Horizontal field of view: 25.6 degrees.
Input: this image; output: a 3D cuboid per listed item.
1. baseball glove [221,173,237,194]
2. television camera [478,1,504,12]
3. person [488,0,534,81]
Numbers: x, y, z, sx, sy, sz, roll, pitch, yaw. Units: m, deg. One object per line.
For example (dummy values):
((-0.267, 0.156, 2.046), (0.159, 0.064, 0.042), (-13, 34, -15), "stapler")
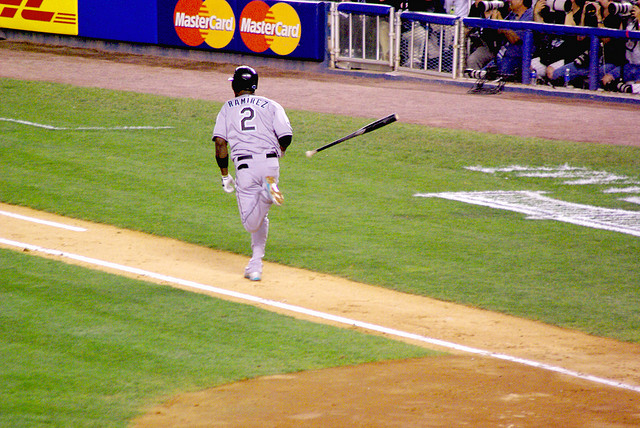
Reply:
((-1.653, -0.541, 24.479), (0.137, 0.313, 0.280), (3, 32, 42), "baseball glove")
((4.491, -5.466, 36.848), (0.660, 0.301, 0.207), (-1, 12, -23), "television camera")
((4.931, -4.467, 35.960), (0.913, 2.068, 1.205), (7, 12, 9), "person")
